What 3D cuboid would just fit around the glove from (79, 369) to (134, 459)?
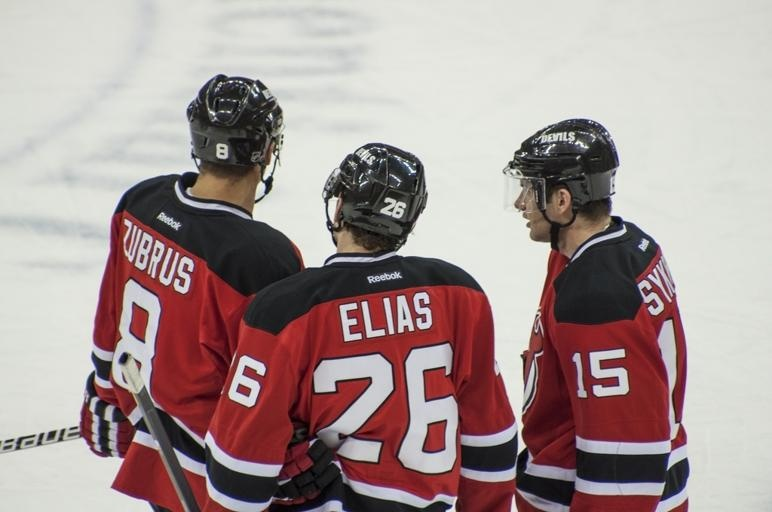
[{"bbox_3d":[-2.055,1.192,11.385,0.221,0.596,0.425,-27,-14,23],"label":"glove"}]
